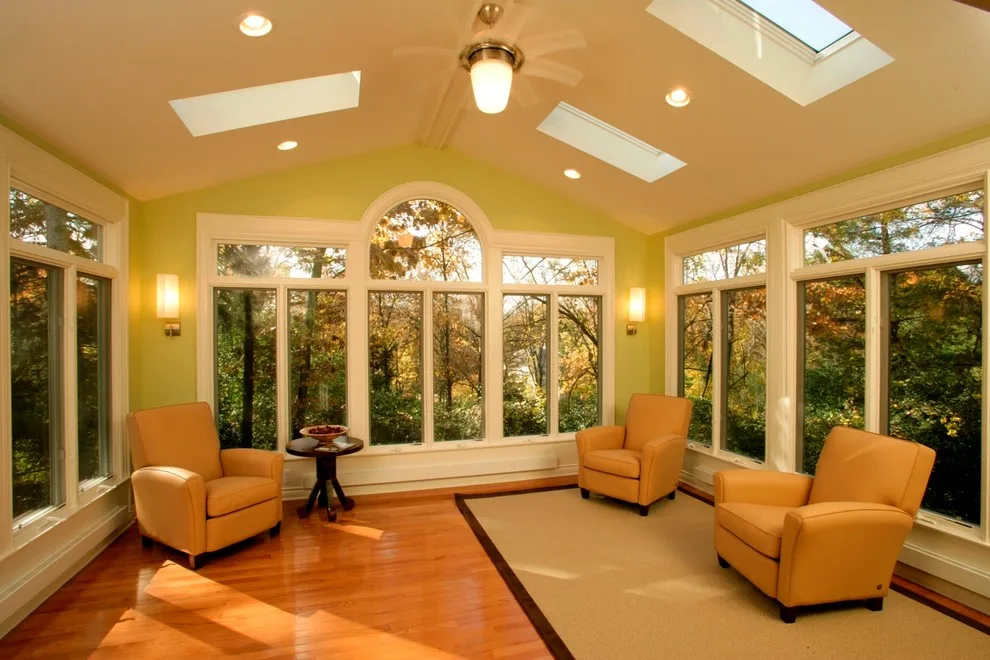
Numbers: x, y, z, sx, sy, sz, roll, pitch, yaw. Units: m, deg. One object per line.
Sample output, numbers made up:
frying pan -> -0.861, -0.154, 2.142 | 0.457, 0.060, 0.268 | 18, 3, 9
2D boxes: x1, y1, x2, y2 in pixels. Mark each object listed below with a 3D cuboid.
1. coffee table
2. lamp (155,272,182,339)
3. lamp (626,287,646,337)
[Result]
coffee table -> -1.714, 1.445, 6.720 | 0.792, 0.719, 0.821 | 1, 4, 12
lamp -> -3.263, -0.242, 6.656 | 0.227, 0.624, 0.134 | -5, 9, -25
lamp -> 1.684, -0.215, 7.961 | 0.210, 0.569, 0.136 | 0, 9, 8
